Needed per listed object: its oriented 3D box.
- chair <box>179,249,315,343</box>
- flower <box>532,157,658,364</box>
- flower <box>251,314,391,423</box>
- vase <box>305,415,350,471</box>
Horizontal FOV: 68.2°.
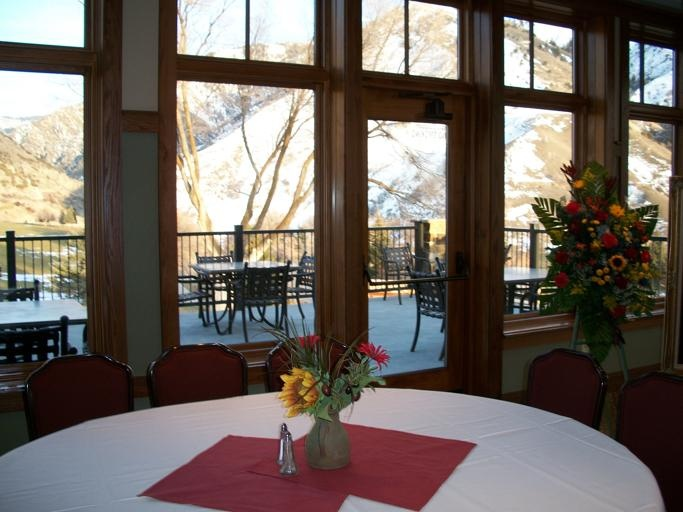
[{"bbox_3d":[-0.715,0.308,3.751,0.709,0.409,0.745,-1,5,-13],"label":"chair"},{"bbox_3d":[1.651,0.022,3.336,0.765,1.251,0.543,2,8,15],"label":"flower"},{"bbox_3d":[-0.039,0.444,1.876,0.418,0.334,0.397,-3,4,-15],"label":"flower"},{"bbox_3d":[-0.030,0.679,1.863,0.171,0.198,0.172,9,-22,-37],"label":"vase"}]
